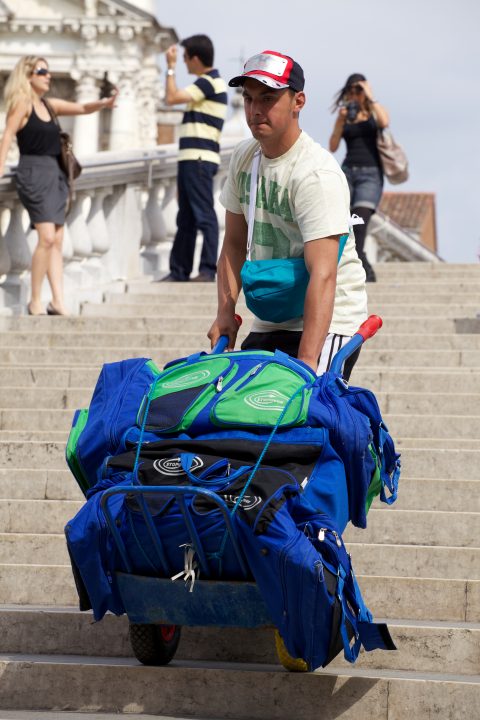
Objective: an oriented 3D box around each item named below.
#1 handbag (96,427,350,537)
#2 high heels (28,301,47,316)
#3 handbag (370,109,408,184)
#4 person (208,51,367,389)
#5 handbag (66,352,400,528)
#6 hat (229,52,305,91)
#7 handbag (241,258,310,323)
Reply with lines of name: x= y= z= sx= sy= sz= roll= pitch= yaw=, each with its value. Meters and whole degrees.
handbag: x=0.020 y=0.300 z=3.906 sx=0.521 sy=0.375 sz=0.835 roll=3 pitch=11 yaw=28
high heels: x=-1.351 y=-0.329 z=8.240 sx=0.063 sy=0.072 sz=0.184 roll=-3 pitch=4 yaw=-34
handbag: x=1.197 y=-1.602 z=9.475 sx=0.363 sy=0.509 sz=0.248 roll=1 pitch=11 yaw=-33
person: x=0.203 y=-0.318 z=4.649 sx=0.583 sy=1.567 sz=0.647 roll=-4 pitch=13 yaw=-24
handbag: x=-0.014 y=0.171 z=4.006 sx=0.764 sy=0.309 sz=0.741 roll=3 pitch=12 yaw=0
hat: x=0.098 y=-1.031 z=4.410 sx=0.262 sy=0.129 sz=0.216 roll=7 pitch=9 yaw=3
handbag: x=0.132 y=-0.274 z=4.592 sx=0.205 sy=0.236 sz=0.200 roll=4 pitch=13 yaw=21
